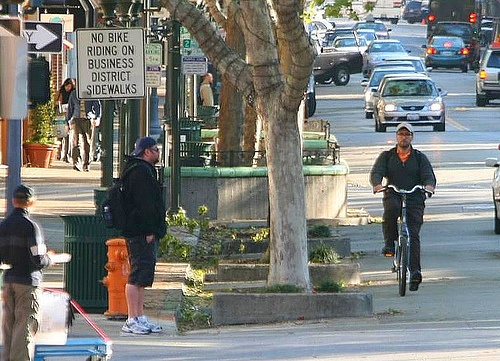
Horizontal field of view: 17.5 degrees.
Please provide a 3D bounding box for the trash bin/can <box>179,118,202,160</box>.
[{"bbox_3d":[-1.224,-0.986,35.337,0.674,0.805,0.688,-10,9,-2],"label":"trash bin/can"}]

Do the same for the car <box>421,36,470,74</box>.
[{"bbox_3d":[8.254,-5.362,67.598,1.677,1.447,2.797,7,8,13],"label":"car"}]

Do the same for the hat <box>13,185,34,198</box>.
[{"bbox_3d":[-2.864,0.142,20.556,0.205,0.156,0.339,4,7,-5],"label":"hat"}]

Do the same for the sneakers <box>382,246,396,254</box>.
[{"bbox_3d":[2.103,1.075,24.613,0.150,0.112,0.148,2,9,5],"label":"sneakers"}]

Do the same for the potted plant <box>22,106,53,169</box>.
[{"bbox_3d":[-4.741,-1.045,36.897,0.820,1.427,0.876,3,4,28],"label":"potted plant"}]

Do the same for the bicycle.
[{"bbox_3d":[2.328,0.920,24.489,0.739,1.710,0.562,10,9,34],"label":"bicycle"}]

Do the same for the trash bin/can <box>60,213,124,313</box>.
[{"bbox_3d":[-2.071,1.218,23.581,1.173,1.606,1.195,0,-2,0],"label":"trash bin/can"}]

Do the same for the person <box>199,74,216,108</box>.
[{"bbox_3d":[-1.200,-2.530,46.030,0.381,1.472,0.704,-10,45,-11],"label":"person"}]

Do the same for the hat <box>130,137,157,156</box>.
[{"bbox_3d":[-1.461,-0.467,22.273,0.328,0.177,0.207,-17,9,-22],"label":"hat"}]

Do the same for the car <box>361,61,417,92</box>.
[{"bbox_3d":[4.814,-3.270,52.245,1.086,0.967,2.602,16,10,13],"label":"car"}]

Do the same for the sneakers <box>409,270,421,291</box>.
[{"bbox_3d":[2.517,1.567,24.564,0.132,0.159,0.369,2,-27,0],"label":"sneakers"}]

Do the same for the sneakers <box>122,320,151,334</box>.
[{"bbox_3d":[-1.542,2.044,22.144,0.371,0.176,0.164,4,0,6],"label":"sneakers"}]
